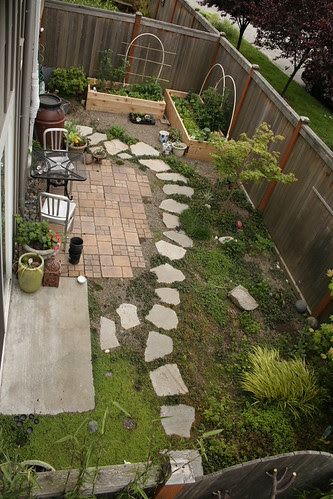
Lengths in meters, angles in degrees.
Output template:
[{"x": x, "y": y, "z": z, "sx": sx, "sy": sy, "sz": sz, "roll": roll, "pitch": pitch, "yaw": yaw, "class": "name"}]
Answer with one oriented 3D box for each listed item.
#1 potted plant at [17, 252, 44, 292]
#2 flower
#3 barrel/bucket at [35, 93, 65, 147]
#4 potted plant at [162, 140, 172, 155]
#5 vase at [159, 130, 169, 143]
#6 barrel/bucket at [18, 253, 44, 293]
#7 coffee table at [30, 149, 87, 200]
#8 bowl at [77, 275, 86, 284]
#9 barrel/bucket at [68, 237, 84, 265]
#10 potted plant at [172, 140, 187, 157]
[{"x": -1.776, "y": 0.289, "z": 4.368, "sx": 0.288, "sy": 0.451, "sz": 0.312, "roll": -5, "pitch": 45, "yaw": -29, "class": "potted plant"}, {"x": -1.728, "y": -0.131, "z": 4.573, "sx": 0.630, "sy": 0.512, "sz": 0.234, "roll": 17, "pitch": 65, "yaw": -52, "class": "flower"}, {"x": -2.266, "y": -2.414, "z": 6.607, "sx": 0.553, "sy": 0.838, "sz": 0.552, "roll": 4, "pitch": 33, "yaw": -3, "class": "barrel/bucket"}, {"x": 0.018, "y": -2.540, "z": 8.389, "sx": 0.270, "sy": 0.274, "sz": 0.295, "roll": 24, "pitch": 31, "yaw": 0, "class": "potted plant"}, {"x": -0.074, "y": -2.874, "z": 8.602, "sx": 0.237, "sy": 0.284, "sz": 0.461, "roll": 20, "pitch": 32, "yaw": -7, "class": "vase"}, {"x": -1.818, "y": 0.325, "z": 4.456, "sx": 0.326, "sy": 0.467, "sz": 0.314, "roll": 14, "pitch": 36, "yaw": -11, "class": "barrel/bucket"}, {"x": -1.819, "y": -1.252, "z": 5.729, "sx": 0.914, "sy": 0.863, "sz": 0.919, "roll": 3, "pitch": 59, "yaw": -18, "class": "coffee table"}, {"x": -1.242, "y": 0.439, "z": 4.908, "sx": 0.107, "sy": 0.042, "sz": 0.107, "roll": 16, "pitch": 44, "yaw": -16, "class": "bowl"}, {"x": -1.380, "y": 0.027, "z": 5.053, "sx": 0.205, "sy": 0.455, "sz": 0.269, "roll": 15, "pitch": 33, "yaw": -14, "class": "barrel/bucket"}, {"x": 0.319, "y": -2.537, "z": 8.376, "sx": 0.351, "sy": 0.256, "sz": 0.353, "roll": 2, "pitch": 44, "yaw": -8, "class": "potted plant"}]
